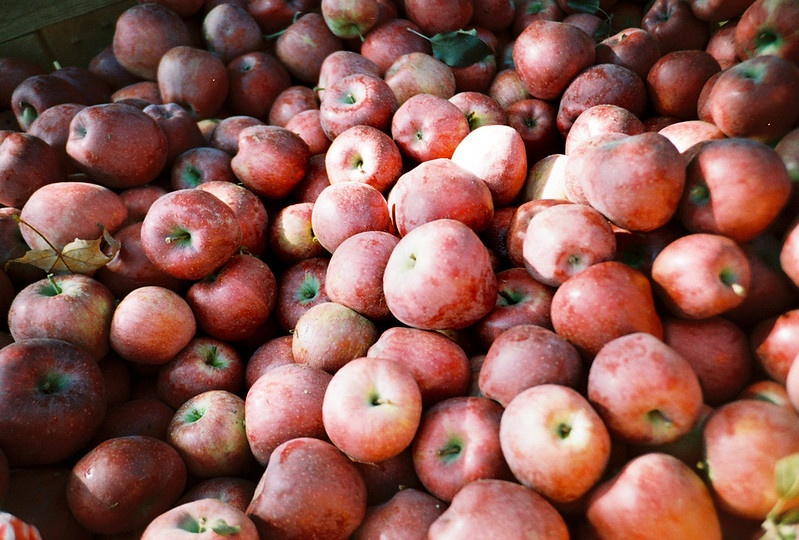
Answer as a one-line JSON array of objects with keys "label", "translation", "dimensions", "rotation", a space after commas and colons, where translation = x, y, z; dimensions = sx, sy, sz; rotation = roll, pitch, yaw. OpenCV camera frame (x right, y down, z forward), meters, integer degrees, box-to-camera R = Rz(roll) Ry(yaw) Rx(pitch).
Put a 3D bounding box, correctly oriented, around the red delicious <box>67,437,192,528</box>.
[{"label": "red delicious", "translation": [-1.181, 0.931, 3.328], "dimensions": [0.471, 0.372, 0.315], "rotation": [-3, 33, -29]}]
